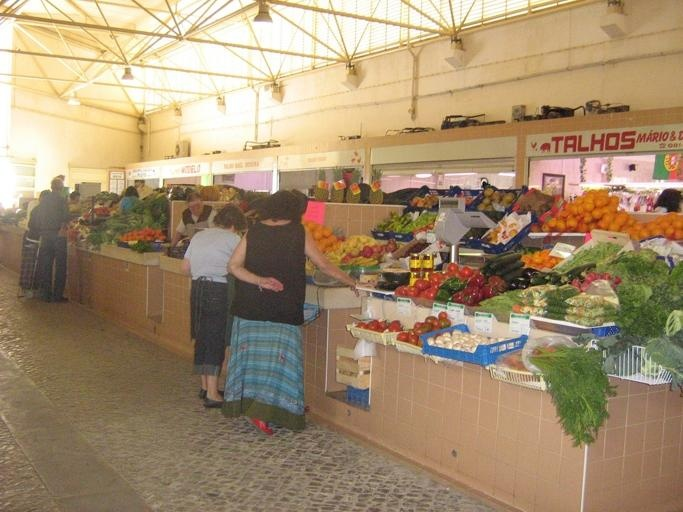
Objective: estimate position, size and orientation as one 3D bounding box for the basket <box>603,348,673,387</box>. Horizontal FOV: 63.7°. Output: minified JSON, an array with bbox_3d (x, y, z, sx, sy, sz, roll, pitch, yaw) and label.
[{"bbox_3d":[1.609,0.608,2.999,0.250,0.156,0.242,10,-4,-18],"label":"basket"}]

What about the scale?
[{"bbox_3d":[0.951,-0.214,4.256,0.437,0.498,0.253,3,6,16],"label":"scale"}]

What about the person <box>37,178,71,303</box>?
[{"bbox_3d":[-4.839,-0.332,9.313,0.562,2.071,0.472,7,8,45],"label":"person"}]

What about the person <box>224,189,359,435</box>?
[{"bbox_3d":[-0.339,0.374,4.308,1.112,1.855,0.761,6,7,12],"label":"person"}]

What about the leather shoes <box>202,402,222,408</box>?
[{"bbox_3d":[-1.099,1.270,4.724,0.175,0.074,0.060,-1,1,-9],"label":"leather shoes"}]

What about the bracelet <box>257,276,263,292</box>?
[{"bbox_3d":[-0.601,0.202,4.089,0.037,0.115,0.035,2,6,5],"label":"bracelet"}]

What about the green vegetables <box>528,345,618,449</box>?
[{"bbox_3d":[1.275,0.760,3.058,0.401,0.559,0.220,-11,-23,1],"label":"green vegetables"}]

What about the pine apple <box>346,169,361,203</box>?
[{"bbox_3d":[0.152,-0.826,6.109,0.141,0.152,0.534,11,42,-13],"label":"pine apple"}]

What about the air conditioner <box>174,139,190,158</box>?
[{"bbox_3d":[-5.862,-4.091,20.381,0.305,0.645,1.198,-2,8,-31],"label":"air conditioner"}]

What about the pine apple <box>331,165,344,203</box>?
[{"bbox_3d":[-0.054,-0.832,6.043,0.175,0.411,0.175,-2,-5,22],"label":"pine apple"}]

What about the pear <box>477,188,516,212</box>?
[{"bbox_3d":[1.388,-0.512,4.934,0.260,0.259,0.089,8,-29,19],"label":"pear"}]

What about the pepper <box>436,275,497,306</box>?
[{"bbox_3d":[0.861,0.213,3.757,0.415,0.200,0.239,2,7,7],"label":"pepper"}]

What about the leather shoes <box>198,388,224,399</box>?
[{"bbox_3d":[-1.153,1.213,4.873,0.274,0.117,0.094,-4,-4,19],"label":"leather shoes"}]

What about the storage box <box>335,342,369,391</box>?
[{"bbox_3d":[0.079,0.856,4.247,0.295,0.222,0.297,5,0,-36],"label":"storage box"}]
